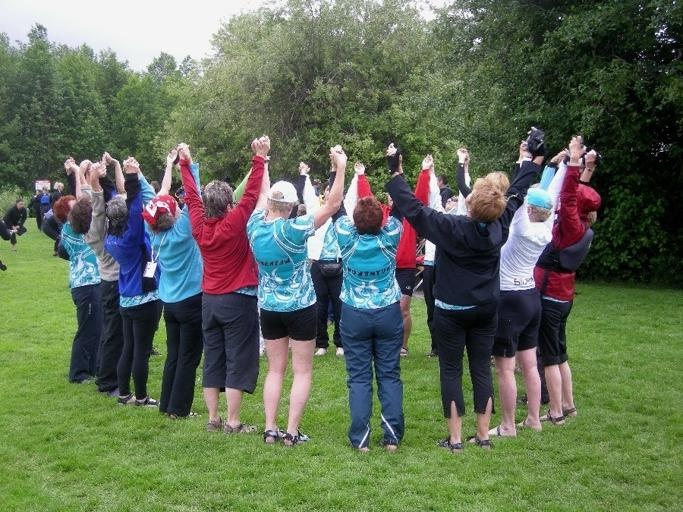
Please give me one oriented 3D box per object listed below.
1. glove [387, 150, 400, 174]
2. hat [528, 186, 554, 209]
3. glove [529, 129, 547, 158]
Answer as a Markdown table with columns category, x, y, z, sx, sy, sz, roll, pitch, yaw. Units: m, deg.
| category | x | y | z | sx | sy | sz | roll | pitch | yaw |
| --- | --- | --- | --- | --- | --- | --- | --- | --- | --- |
| glove | 0.682 | -1.239 | 9.521 | 0.163 | 0.294 | 0.153 | 1 | 2 | 14 |
| hat | 2.724 | -0.829 | 9.953 | 0.221 | 0.200 | 0.355 | 2 | 17 | -11 |
| glove | 2.648 | -1.509 | 9.715 | 0.192 | 0.385 | 0.353 | 5 | -9 | -3 |
